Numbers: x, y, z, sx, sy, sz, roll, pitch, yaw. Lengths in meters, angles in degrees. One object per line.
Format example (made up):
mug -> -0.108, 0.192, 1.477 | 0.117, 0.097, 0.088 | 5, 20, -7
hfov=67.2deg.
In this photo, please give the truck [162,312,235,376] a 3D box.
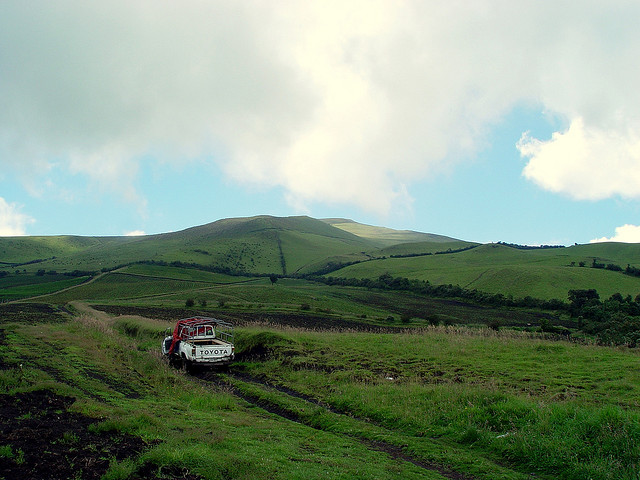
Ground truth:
truck -> -10.216, 8.954, 40.720 | 3.963, 3.891, 6.764 | 5, -5, -28
